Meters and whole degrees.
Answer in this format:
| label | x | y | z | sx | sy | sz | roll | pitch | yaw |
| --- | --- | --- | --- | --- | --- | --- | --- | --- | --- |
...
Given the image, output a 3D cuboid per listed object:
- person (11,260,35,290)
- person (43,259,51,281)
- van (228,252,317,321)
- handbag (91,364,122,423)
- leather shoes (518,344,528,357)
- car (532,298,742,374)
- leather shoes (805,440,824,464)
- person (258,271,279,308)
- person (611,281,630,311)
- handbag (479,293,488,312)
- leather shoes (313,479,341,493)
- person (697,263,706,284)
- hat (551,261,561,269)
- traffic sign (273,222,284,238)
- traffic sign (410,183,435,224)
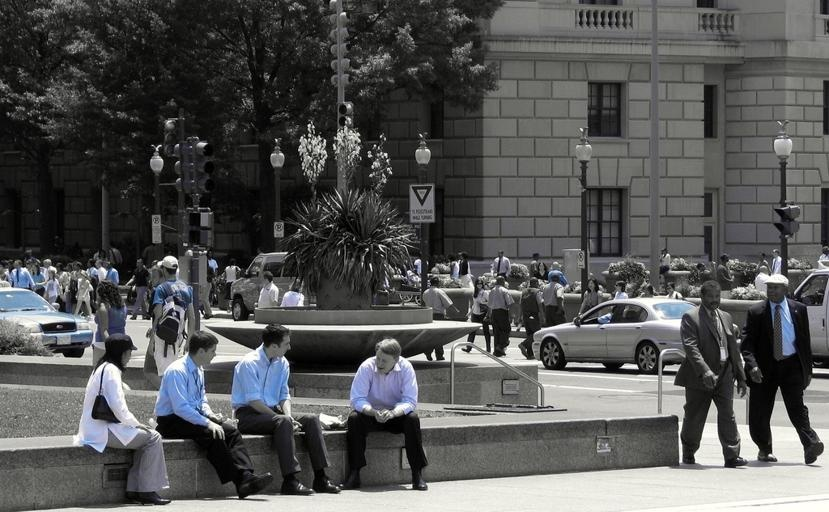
| label | x | y | z | sx | sy | sz | roll | pitch | yaw |
| --- | --- | --- | --- | --- | --- | --- | --- | --- | --- |
| person | -14.743 | 0.758 | 57.210 | 1.077 | 1.138 | 0.401 | -2 | -3 | -28 |
| person | -14.233 | 0.570 | 58.783 | 0.238 | 0.720 | 0.719 | 6 | -11 | -9 |
| van | -6.077 | 1.178 | 56.893 | 2.298 | 2.434 | 4.464 | 0 | 1 | -25 |
| handbag | -6.689 | 3.094 | 32.761 | 0.466 | 1.122 | 0.331 | 11 | 16 | 35 |
| leather shoes | 3.558 | 3.068 | 49.117 | 0.213 | 0.466 | 0.158 | -19 | 11 | 0 |
| car | 6.465 | 2.459 | 46.823 | 5.438 | 1.756 | 2.473 | -1 | -1 | 39 |
| leather shoes | 9.386 | 4.630 | 35.608 | 0.194 | 0.532 | 0.239 | 18 | 26 | -18 |
| person | -4.750 | 1.117 | 49.810 | 0.678 | 1.287 | 1.180 | 3 | 0 | -9 |
| person | 6.803 | 1.336 | 49.942 | 0.543 | 0.691 | 1.060 | 5 | -1 | 19 |
| handbag | 2.348 | 1.558 | 50.703 | 0.194 | 0.741 | 0.435 | -3 | 14 | -21 |
| leather shoes | -1.948 | 5.145 | 33.709 | 0.619 | 0.276 | 0.152 | 2 | 13 | 0 |
| person | 10.380 | 0.655 | 54.761 | 0.286 | 0.707 | 0.506 | 8 | -4 | 12 |
| hat | 5.255 | 0.336 | 56.023 | 0.206 | 0.273 | 0.278 | -1 | -4 | -1 |
| traffic sign | -5.302 | -1.048 | 59.636 | 0.417 | 0.767 | 0.772 | 0 | -2 | -1 |
| traffic sign | 0.242 | -1.666 | 48.164 | 0.773 | 1.334 | 0.752 | 3 | 13 | 5 |
